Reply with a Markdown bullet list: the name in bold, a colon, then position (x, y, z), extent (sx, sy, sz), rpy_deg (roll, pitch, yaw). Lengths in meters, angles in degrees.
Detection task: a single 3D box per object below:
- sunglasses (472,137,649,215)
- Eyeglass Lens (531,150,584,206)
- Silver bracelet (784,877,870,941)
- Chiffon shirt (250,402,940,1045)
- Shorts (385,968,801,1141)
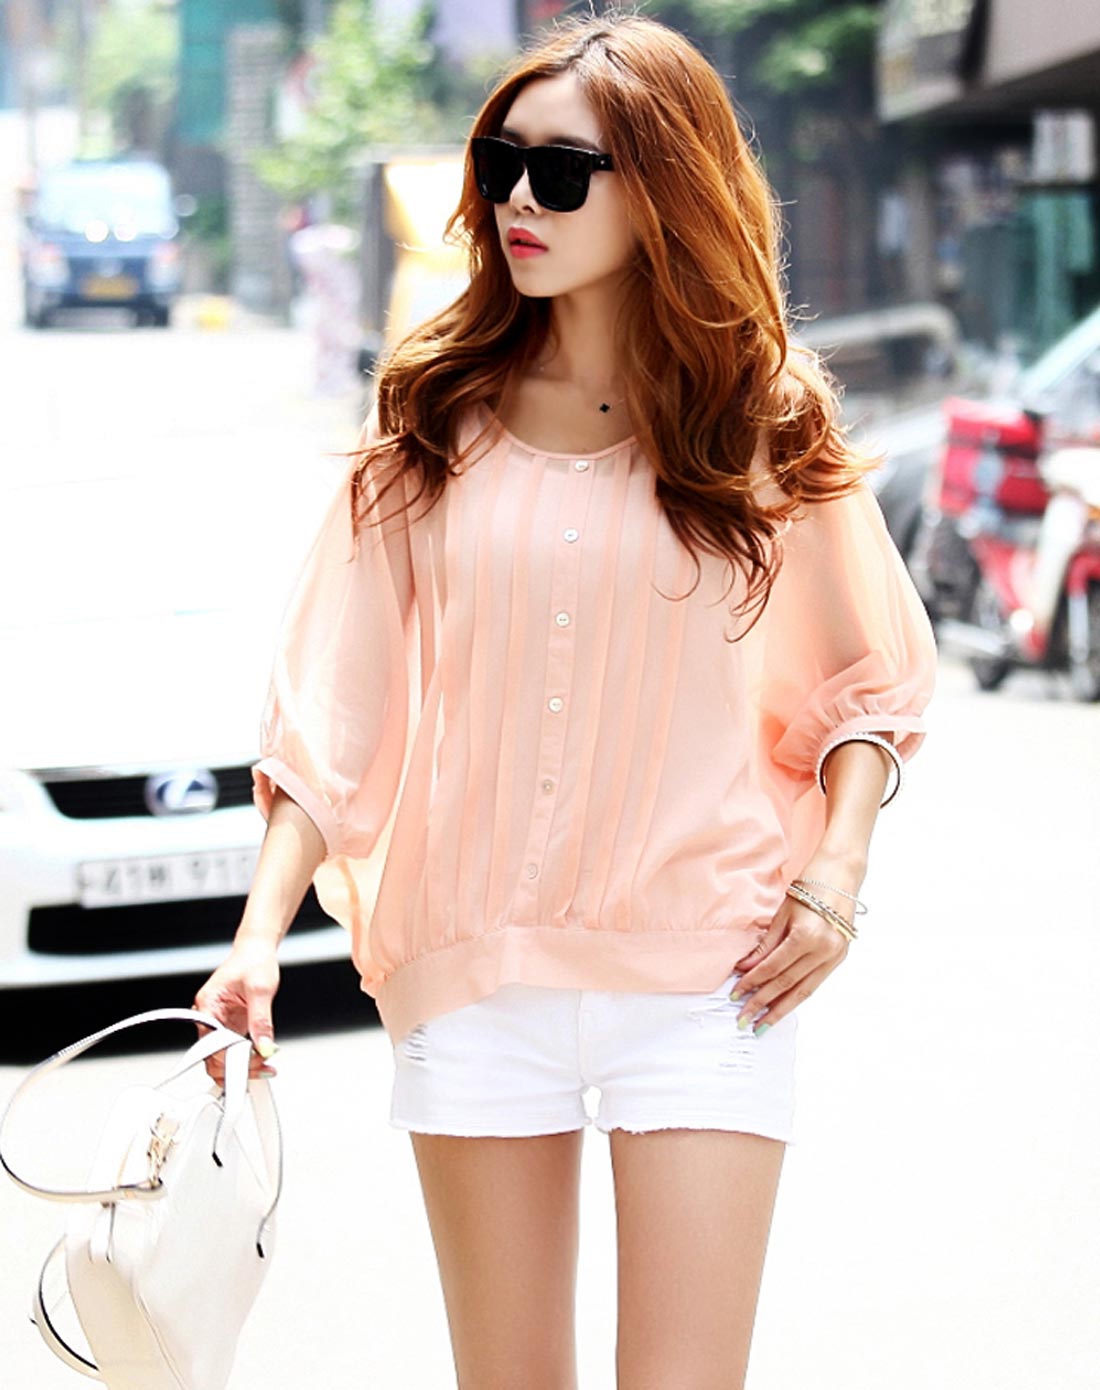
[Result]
- **sunglasses**: position (-0.012, -0.515, 1.538), extent (0.119, 0.044, 0.115), rpy_deg (9, 1, 25)
- **Eyeglass Lens**: position (0.007, -0.499, 1.505), extent (0.064, 0.052, 0.025), rpy_deg (3, 6, 0)
- **Silver bracelet**: position (0.278, 0.192, 1.481), extent (0.080, 0.028, 0.060), rpy_deg (27, -11, 7)
- **Chiffon shirt**: position (0.040, 0.042, 1.565), extent (0.657, 0.597, 0.322), rpy_deg (3, 12, 11)
- **Shorts**: position (0.024, 0.377, 1.615), extent (0.162, 0.138, 0.436), rpy_deg (-8, -17, 29)
